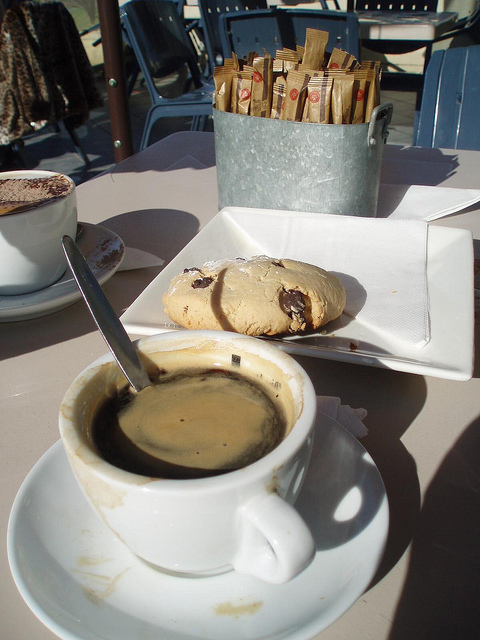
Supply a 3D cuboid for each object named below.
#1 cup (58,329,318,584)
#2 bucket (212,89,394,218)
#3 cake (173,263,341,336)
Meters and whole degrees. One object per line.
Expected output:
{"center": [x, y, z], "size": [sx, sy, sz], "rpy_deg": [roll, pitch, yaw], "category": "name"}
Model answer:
{"center": [-0.035, 0.105, 0.377], "size": [0.143, 0.080, 0.173], "rpy_deg": [-16, 35, -26], "category": "cup"}
{"center": [0.074, -0.219, 0.765], "size": [0.235, 0.152, 0.053], "rpy_deg": [9, 39, 20], "category": "bucket"}
{"center": [0.024, -0.038, 0.548], "size": [0.116, 0.031, 0.089], "rpy_deg": [10, 23, 8], "category": "cake"}
